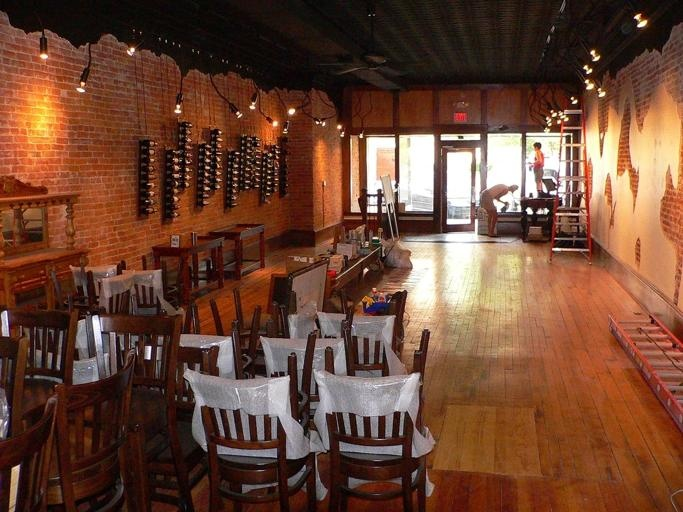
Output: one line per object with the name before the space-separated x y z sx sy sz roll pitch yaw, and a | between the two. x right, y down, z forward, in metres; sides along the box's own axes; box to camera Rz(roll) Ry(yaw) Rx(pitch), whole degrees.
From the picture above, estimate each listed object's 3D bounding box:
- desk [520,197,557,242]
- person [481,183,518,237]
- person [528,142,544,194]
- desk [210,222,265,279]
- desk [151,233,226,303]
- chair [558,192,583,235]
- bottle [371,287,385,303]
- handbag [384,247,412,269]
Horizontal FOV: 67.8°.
desk | 5.816 -1.039 14.859 1.085 1.412 1.224 0 4 12
person | 4.691 -1.375 15.506 1.062 1.580 1.117 -1 8 2
person | 5.889 -2.632 15.341 0.352 1.583 1.589 1 8 21
desk | -2.201 -0.117 10.986 0.904 1.284 1.710 5 10 22
desk | -2.636 0.219 8.760 0.354 0.723 1.074 4 8 14
chair | 5.976 -1.060 13.316 0.637 0.832 1.108 -1 8 1
bottle | 0.523 0.581 7.228 0.101 0.199 0.181 -1 -7 9
handbag | 1.305 0.046 11.554 0.540 0.581 0.415 -14 3 13
